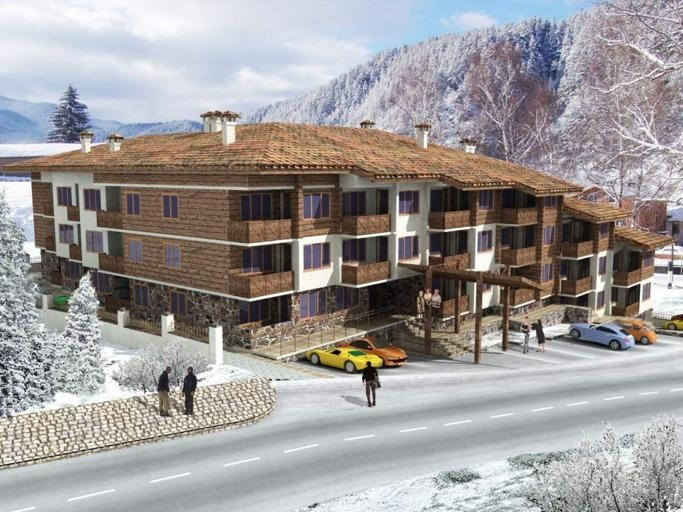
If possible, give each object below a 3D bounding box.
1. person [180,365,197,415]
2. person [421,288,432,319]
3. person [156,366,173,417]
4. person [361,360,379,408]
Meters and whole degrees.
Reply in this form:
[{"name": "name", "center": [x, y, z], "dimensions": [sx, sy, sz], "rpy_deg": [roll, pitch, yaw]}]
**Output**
[{"name": "person", "center": [-7.409, 6.432, 35.329], "dimensions": [0.665, 2.389, 0.828], "rpy_deg": [-3, 13, -15]}, {"name": "person", "center": [5.445, 3.139, 46.415], "dimensions": [0.598, 2.045, 1.320], "rpy_deg": [3, 13, 7]}, {"name": "person", "center": [-8.543, 6.391, 35.005], "dimensions": [0.569, 2.394, 0.725], "rpy_deg": [-2, 13, -14]}, {"name": "person", "center": [1.521, 6.534, 37.280], "dimensions": [0.798, 2.036, 1.258], "rpy_deg": [1, 13, 2]}]
